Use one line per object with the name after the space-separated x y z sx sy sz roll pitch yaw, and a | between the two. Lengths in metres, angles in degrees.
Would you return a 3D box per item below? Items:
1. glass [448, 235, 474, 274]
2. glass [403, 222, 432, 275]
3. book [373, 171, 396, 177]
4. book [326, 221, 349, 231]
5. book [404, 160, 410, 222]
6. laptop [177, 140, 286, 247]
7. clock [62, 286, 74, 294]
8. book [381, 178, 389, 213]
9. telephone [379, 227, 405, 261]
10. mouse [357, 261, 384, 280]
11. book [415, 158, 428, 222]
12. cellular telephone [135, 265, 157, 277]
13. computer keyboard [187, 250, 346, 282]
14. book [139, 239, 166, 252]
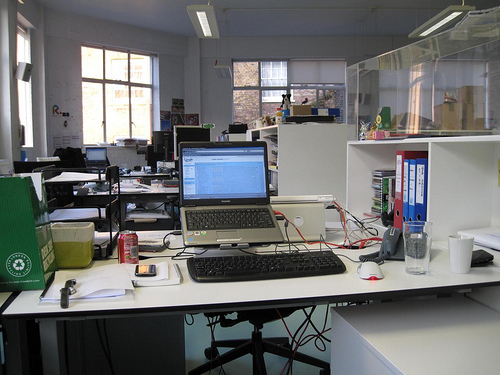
0.854 0.274 1.637 0.089 0.144 0.048 0 9 17 | glass
0.703 0.244 1.703 0.108 0.191 0.201 1 10 23 | glass
0.830 -0.082 2.504 0.127 0.038 0.092 0 9 16 | book
0.511 0.226 2.372 0.084 0.053 0.084 0 -1 -8 | book
0.797 0.015 2.054 0.025 0.306 0.072 0 9 18 | book
-0.109 0.017 1.967 0.515 0.382 0.512 -2 37 -9 | laptop
-0.663 0.372 1.478 0.034 0.023 0.040 -4 9 -7 | clock
0.803 0.045 2.398 0.027 0.202 0.065 -6 10 -22 | book
0.632 0.253 1.789 0.086 0.150 0.048 3 -29 25 | telephone
0.481 0.330 1.612 0.095 0.059 0.060 -1 9 7 | mouse
0.835 0.012 1.970 0.073 0.296 0.053 6 12 43 | book
-0.419 0.335 1.623 0.084 0.034 0.066 -5 9 -16 | cellular telephone
0.064 0.325 1.668 0.641 0.071 0.171 -4 9 -8 | computer keyboard
-0.490 0.284 2.022 0.126 0.031 0.202 -5 9 -14 | book
